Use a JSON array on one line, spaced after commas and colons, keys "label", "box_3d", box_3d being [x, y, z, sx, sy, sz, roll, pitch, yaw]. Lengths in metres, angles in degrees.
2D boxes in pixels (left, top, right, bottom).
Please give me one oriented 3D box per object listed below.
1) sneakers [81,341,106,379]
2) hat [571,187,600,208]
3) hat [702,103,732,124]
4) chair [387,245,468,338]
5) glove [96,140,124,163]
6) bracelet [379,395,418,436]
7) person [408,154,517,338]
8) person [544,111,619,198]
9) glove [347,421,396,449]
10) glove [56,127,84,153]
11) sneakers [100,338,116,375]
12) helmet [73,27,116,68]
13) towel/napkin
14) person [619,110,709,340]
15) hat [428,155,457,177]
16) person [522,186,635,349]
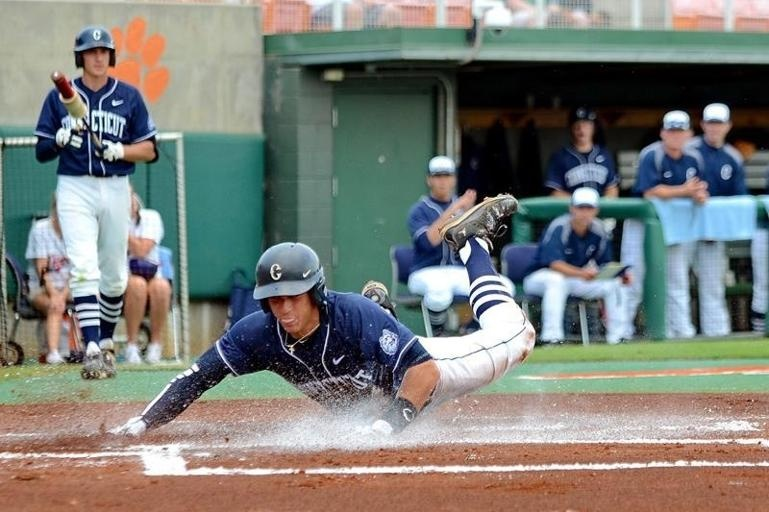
[{"label": "sneakers", "box_3d": [-1.911, 0.711, 8.963, 0.180, 0.200, 0.468, 0, -15, -10]}, {"label": "hat", "box_3d": [1.455, -0.420, 9.855, 0.201, 0.148, 0.280, -2, 1, 8]}, {"label": "hat", "box_3d": [2.476, -1.045, 10.072, 0.210, 0.137, 0.147, -3, 1, -22]}, {"label": "chair", "box_3d": [0.300, 0.243, 10.002, 0.514, 0.580, 0.439, 3, 7, 13]}, {"label": "glove", "box_3d": [-1.734, -0.662, 8.565, 0.139, 0.122, 0.067, 30, -6, -26]}, {"label": "bracelet", "box_3d": [0.074, 0.875, 7.560, 0.144, 0.201, 0.123, 40, 7, -16]}, {"label": "person", "box_3d": [0.505, 0.024, 9.628, 0.893, 1.363, 0.774, 2, 8, 28]}, {"label": "person", "box_3d": [1.508, -0.784, 10.459, 0.559, 0.687, 0.263, -2, 2, 6]}, {"label": "glove", "box_3d": [-0.058, 0.966, 7.585, 0.180, 0.078, 0.196, 2, 0, 9]}, {"label": "glove", "box_3d": [-1.993, -0.735, 8.559, 0.156, 0.113, 0.071, 10, 10, 12]}, {"label": "sneakers", "box_3d": [-1.838, 0.676, 9.019, 0.100, 0.135, 0.318, -4, 32, -11]}, {"label": "helmet", "box_3d": [-1.847, -1.312, 8.637, 0.289, 0.273, 0.335, -10, 4, -14]}, {"label": "towel/napkin", "box_3d": [2.382, -0.265, 10.003, 0.415, 0.240, 0.577, 4, 6, 40]}, {"label": "person", "box_3d": [2.065, -0.228, 10.019, 0.653, 1.631, 0.456, -2, 2, 9]}, {"label": "hat", "box_3d": [0.410, -0.644, 9.800, 0.151, 0.114, 0.214, -1, 2, 2]}, {"label": "person", "box_3d": [1.400, 0.076, 9.860, 0.887, 1.088, 0.807, 11, 16, 32]}]
